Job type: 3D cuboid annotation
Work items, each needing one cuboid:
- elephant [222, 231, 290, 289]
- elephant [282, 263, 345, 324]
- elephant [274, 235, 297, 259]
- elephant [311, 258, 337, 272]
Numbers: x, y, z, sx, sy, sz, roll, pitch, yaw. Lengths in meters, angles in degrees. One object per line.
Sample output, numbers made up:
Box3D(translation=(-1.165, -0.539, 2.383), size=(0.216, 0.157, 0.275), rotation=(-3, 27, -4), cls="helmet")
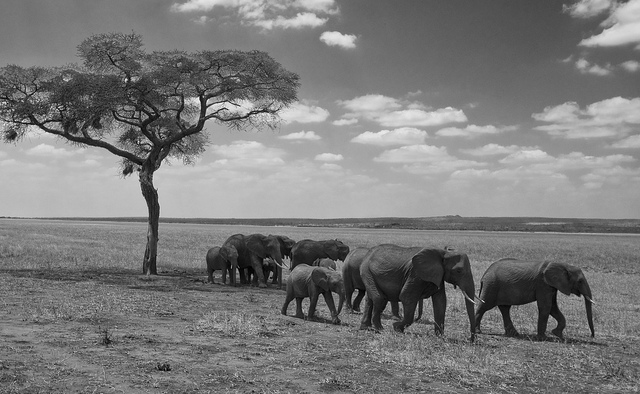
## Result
Box3D(translation=(-3.880, 3.756, 32.976), size=(4.733, 3.019, 1.979), rotation=(-1, 1, 33), cls="elephant")
Box3D(translation=(-0.389, 4.309, 25.238), size=(3.180, 2.477, 1.493), rotation=(-1, -3, 28), cls="elephant")
Box3D(translation=(-2.020, 3.060, 34.965), size=(0.842, 0.983, 1.645), rotation=(5, -4, -41), cls="elephant")
Box3D(translation=(0.225, 3.575, 29.476), size=(1.211, 0.717, 0.580), rotation=(-1, -3, 33), cls="elephant")
